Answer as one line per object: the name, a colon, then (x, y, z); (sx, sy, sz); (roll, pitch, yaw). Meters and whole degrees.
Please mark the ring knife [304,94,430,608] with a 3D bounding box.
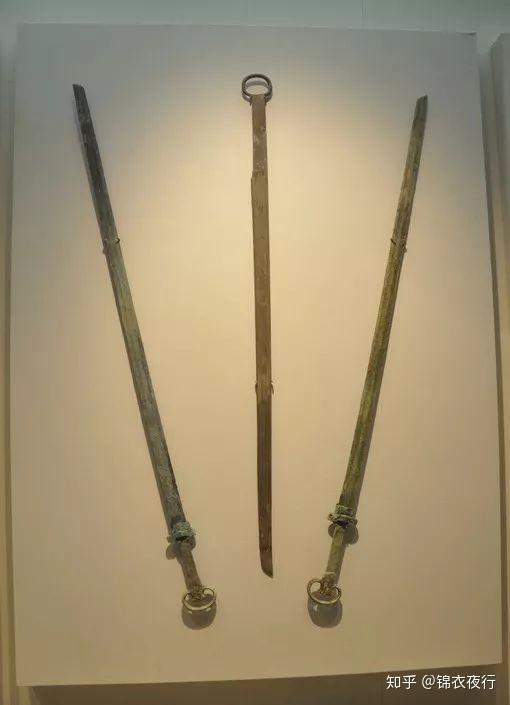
ring knife: (0.301, 0.029, 2.578); (0.167, 1.728, 0.070); (9, -7, -1)
